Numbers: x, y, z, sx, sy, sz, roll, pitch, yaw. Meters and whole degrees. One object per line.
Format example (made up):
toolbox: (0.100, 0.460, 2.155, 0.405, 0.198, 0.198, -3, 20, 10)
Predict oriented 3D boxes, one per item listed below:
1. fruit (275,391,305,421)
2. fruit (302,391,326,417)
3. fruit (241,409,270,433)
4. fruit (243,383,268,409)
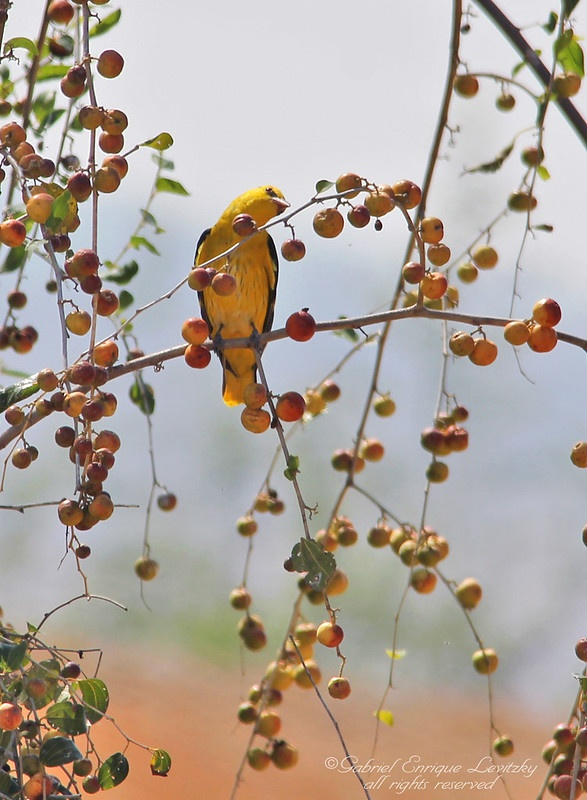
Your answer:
fruit: (-0.006, 0.010, 2.429, 0.051, 0.052, 0.051, -8, -24, 23)
fruit: (0.041, 0.010, 2.950, 0.038, 0.043, 0.053, -2, -23, 1)
fruit: (-0.066, 0.034, 2.531, 0.064, 0.065, 0.067, 0, -1, -2)
fruit: (-0.064, -0.007, 2.468, 0.039, 0.042, 0.038, 0, 6, 0)
